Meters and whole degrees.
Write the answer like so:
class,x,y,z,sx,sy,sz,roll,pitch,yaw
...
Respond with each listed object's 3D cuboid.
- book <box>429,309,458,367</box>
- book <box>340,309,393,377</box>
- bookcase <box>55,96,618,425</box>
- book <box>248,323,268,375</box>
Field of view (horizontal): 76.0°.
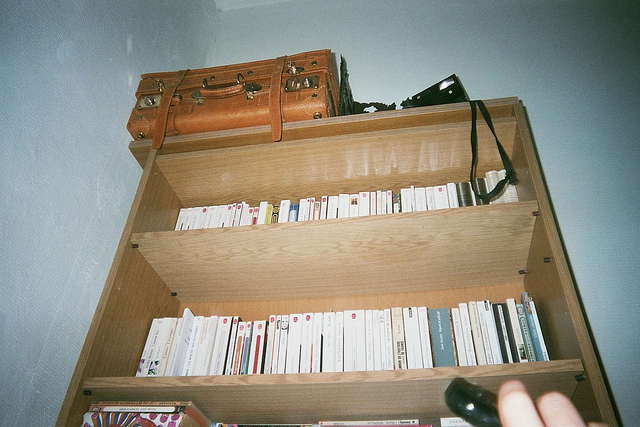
class,x,y,z,sx,sy,sz,roll,pitch,yaw
book,0.612,0.611,2.004,0.121,0.257,0.324,-8,-17,21
book,0.216,0.598,1.880,0.229,0.083,0.268,0,59,2
bookcase,0.037,0.241,1.962,1.736,0.530,1.499,-2,56,6
book,-0.298,0.661,2.045,0.069,0.256,0.293,8,-23,-20
